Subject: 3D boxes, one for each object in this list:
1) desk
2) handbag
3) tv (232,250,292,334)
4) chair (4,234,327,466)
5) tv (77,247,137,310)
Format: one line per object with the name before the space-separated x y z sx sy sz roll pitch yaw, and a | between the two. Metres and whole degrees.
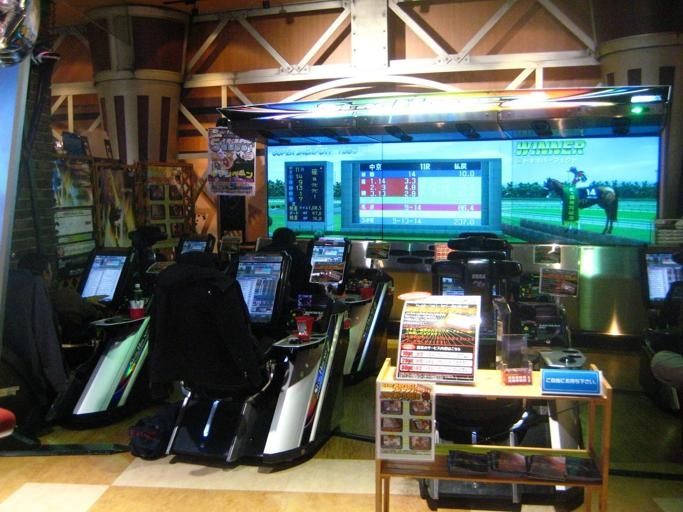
desk | 0.950 1.171 3.422 1.413 0.856 0.492 0 1 9
handbag | -1.531 1.425 4.476 0.324 0.145 0.510 8 43 9
tv | -0.689 0.296 4.685 0.749 0.630 0.167 5 -1 26
chair | -1.267 0.716 4.823 2.097 1.712 1.719 1 5 14
tv | -2.362 0.233 5.380 0.523 0.589 0.205 8 -9 13
